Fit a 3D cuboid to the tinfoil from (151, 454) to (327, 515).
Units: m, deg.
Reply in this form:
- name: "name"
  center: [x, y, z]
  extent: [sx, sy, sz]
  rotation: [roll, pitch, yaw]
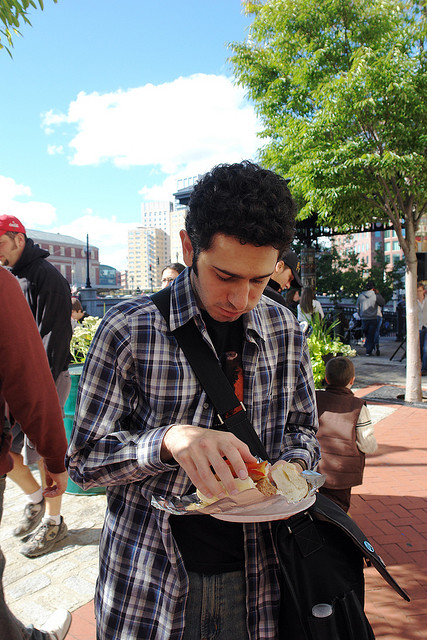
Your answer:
- name: "tinfoil"
  center: [0.067, 0.329, 1.063]
  extent: [0.188, 0.050, 0.295]
  rotation: [-1, 0, 43]

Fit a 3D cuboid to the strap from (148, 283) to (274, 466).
- name: "strap"
  center: [-0.018, 0.145, 1.236]
  extent: [0.083, 0.598, 0.026]
  rotation: [-32, 0, -25]

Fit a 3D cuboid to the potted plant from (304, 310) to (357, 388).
- name: "potted plant"
  center: [1.434, 0.430, 5.829]
  extent: [0.739, 0.859, 0.713]
  rotation: [-15, 7, 17]

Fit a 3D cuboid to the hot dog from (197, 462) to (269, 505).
- name: "hot dog"
  center: [0.060, 0.348, 1.040]
  extent: [0.081, 0.033, 0.140]
  rotation: [-13, -2, 28]
